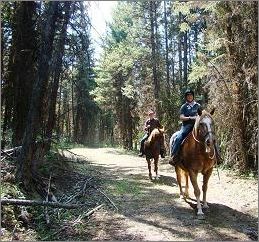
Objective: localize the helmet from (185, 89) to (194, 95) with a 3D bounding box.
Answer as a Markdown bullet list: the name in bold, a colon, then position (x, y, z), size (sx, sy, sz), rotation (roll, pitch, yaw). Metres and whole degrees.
- **helmet**: position (1.996, -0.939, 8.765), size (0.270, 0.208, 0.437), rotation (2, -1, 24)

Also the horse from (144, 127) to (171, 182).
- **horse**: position (1.182, 1.473, 12.362), size (0.664, 2.332, 1.701), rotation (2, 0, -17)

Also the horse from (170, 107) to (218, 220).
- **horse**: position (1.962, 1.132, 8.001), size (0.934, 2.765, 2.470), rotation (2, 0, -3)
